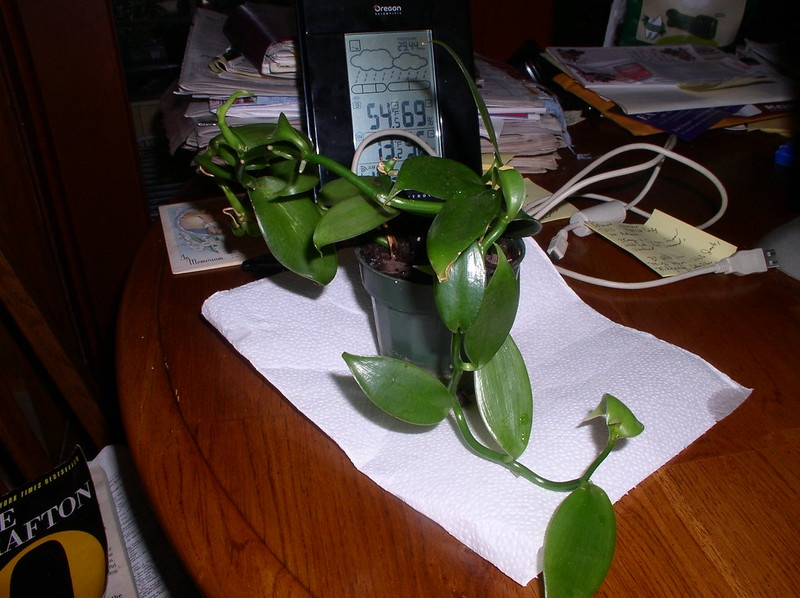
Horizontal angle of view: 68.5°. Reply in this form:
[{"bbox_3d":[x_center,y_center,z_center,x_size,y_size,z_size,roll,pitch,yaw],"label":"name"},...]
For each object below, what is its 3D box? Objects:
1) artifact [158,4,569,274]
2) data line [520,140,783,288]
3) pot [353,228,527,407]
[{"bbox_3d":[-0.159,-0.254,1.088,0.474,0.125,0.558,4,78,-17],"label":"artifact"},{"bbox_3d":[0.326,-0.103,0.789,0.253,0.054,0.227,-19,59,-7],"label":"data line"},{"bbox_3d":[0.042,0.010,0.644,0.156,0.137,0.145,2,39,-1],"label":"pot"}]
